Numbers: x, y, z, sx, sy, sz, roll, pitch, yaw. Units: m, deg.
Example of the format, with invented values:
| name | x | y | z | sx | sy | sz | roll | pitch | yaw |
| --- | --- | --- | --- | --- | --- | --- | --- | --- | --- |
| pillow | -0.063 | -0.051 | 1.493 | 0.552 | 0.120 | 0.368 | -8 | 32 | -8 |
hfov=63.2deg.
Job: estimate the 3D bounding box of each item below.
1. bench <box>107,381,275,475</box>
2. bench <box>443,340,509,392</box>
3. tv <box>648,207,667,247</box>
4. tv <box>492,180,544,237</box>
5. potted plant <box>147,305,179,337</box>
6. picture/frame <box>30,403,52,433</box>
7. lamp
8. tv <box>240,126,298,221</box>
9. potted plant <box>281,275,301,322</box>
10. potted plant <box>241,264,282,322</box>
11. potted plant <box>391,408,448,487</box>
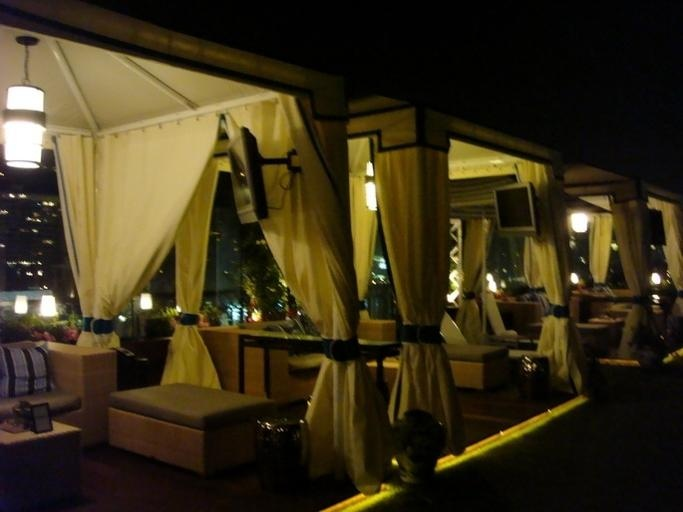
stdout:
| name | x | y | z | sx | sy | sz | roll | pitch | yaw |
| --- | --- | --- | --- | --- | --- | --- | --- | --- | --- |
| bench | -1.340 | 1.562 | 5.052 | 1.555 | 0.617 | 0.673 | 5 | 6 | 29 |
| bench | 1.936 | 1.552 | 7.585 | 0.920 | 0.527 | 0.501 | 0 | 6 | -18 |
| tv | 6.075 | -0.568 | 10.671 | 0.187 | 0.764 | 0.822 | -4 | 33 | 21 |
| tv | 2.485 | -0.655 | 7.697 | 0.211 | 0.891 | 0.763 | -2 | -6 | -31 |
| potted plant | -2.608 | 0.979 | 8.005 | 0.444 | 0.355 | 0.815 | 0 | 6 | -17 |
| picture/frame | -2.373 | 1.284 | 4.359 | 0.115 | 0.231 | 0.160 | -24 | -17 | 33 |
| lamp | -2.935 | -1.408 | 5.100 | 0.320 | 1.177 | 0.599 | -1 | 6 | -32 |
| tv | -0.681 | -0.736 | 5.170 | 0.520 | 0.858 | 0.330 | 2 | 5 | -4 |
| potted plant | -0.742 | 0.651 | 8.068 | 0.260 | 0.431 | 1.037 | 1 | 6 | -6 |
| potted plant | -1.151 | 0.497 | 8.268 | 0.492 | 0.791 | 0.425 | -9 | -22 | -9 |
| potted plant | 0.620 | 1.581 | 4.557 | 0.416 | 0.544 | 0.509 | 4 | -10 | -17 |
